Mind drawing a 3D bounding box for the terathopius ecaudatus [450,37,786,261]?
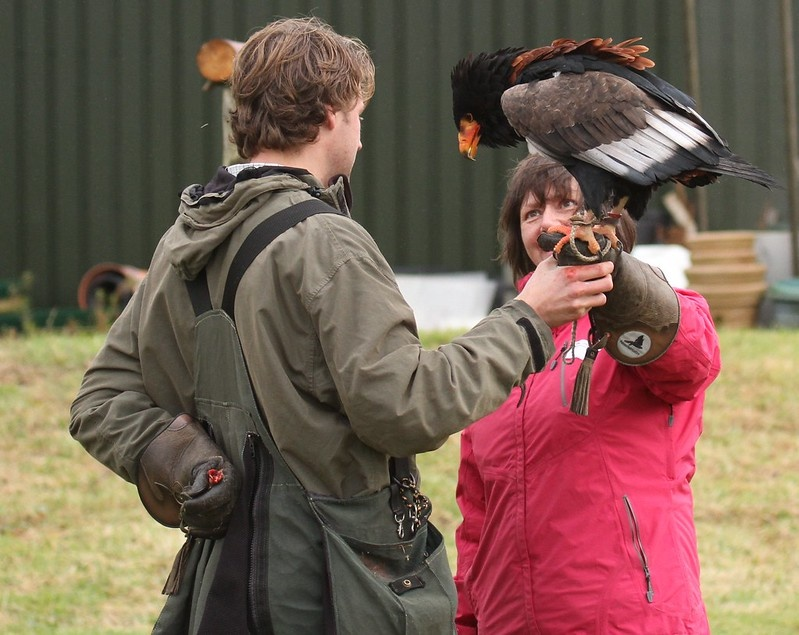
[{"bbox_3d":[1.062,-0.865,8.399,1.557,1.072,0.663,-3,1,22],"label":"terathopius ecaudatus"}]

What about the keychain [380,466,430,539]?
[{"bbox_3d":[0.039,0.833,7.563,0.101,0.302,0.198,-25,-14,40],"label":"keychain"}]
